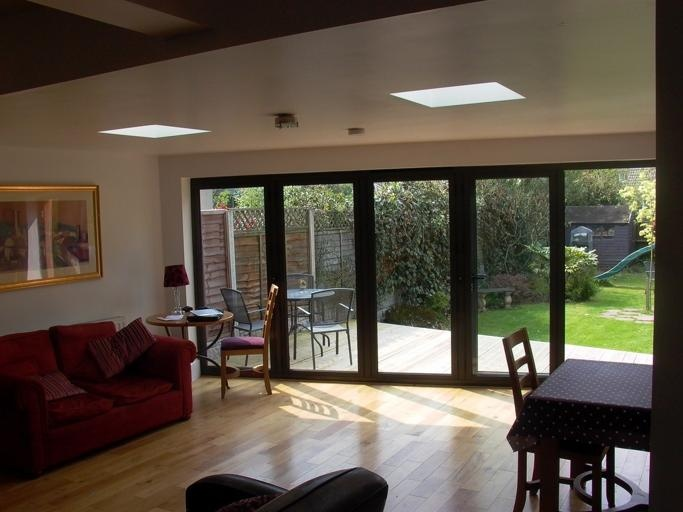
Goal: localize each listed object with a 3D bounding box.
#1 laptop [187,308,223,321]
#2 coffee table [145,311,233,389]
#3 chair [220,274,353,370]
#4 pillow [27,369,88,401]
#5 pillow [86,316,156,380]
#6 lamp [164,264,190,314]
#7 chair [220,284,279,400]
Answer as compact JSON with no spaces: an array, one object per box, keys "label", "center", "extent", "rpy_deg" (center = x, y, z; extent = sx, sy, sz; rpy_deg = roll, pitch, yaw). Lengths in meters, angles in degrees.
[{"label":"laptop","center":[-1.508,0.641,5.638],"extent":[0.378,0.065,0.432],"rpy_deg":[-3,5,-17]},{"label":"coffee table","center":[-1.742,1.067,5.740],"extent":[0.834,0.549,0.838],"rpy_deg":[3,3,21]},{"label":"chair","center":[-0.615,0.788,5.920],"extent":[1.397,0.907,0.862],"rpy_deg":[1,-2,3]},{"label":"pillow","center":[-2.492,1.121,4.512],"extent":[0.369,0.202,0.362],"rpy_deg":[3,7,45]},{"label":"pillow","center":[-2.171,0.899,5.026],"extent":[0.496,0.476,0.145],"rpy_deg":[-37,1,-39]},{"label":"lamp","center":[-1.928,0.362,5.957],"extent":[0.261,0.553,0.612],"rpy_deg":[-3,6,-17]},{"label":"chair","center":[-1.058,0.934,5.962],"extent":[0.685,1.215,0.659],"rpy_deg":[-2,5,-7]}]
